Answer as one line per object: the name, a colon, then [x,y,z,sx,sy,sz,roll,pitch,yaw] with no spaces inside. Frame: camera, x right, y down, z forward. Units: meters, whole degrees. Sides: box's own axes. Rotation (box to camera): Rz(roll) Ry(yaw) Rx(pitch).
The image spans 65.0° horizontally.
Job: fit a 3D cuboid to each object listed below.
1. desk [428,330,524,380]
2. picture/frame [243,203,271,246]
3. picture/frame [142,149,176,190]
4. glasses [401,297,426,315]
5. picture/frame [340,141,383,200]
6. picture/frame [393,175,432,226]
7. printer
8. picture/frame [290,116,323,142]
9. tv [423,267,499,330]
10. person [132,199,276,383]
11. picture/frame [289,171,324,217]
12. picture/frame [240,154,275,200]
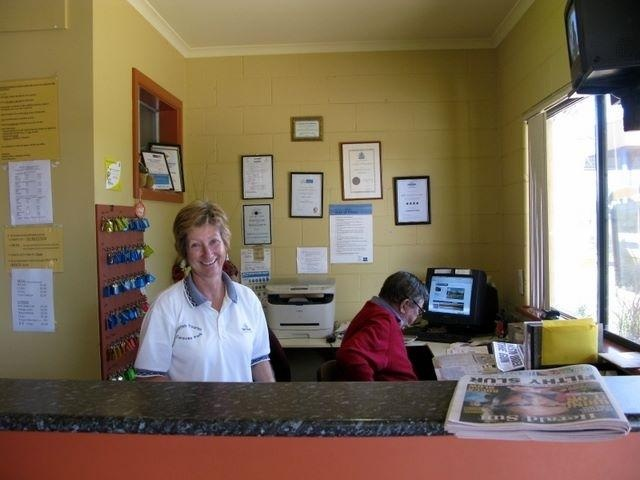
desk: [0.907,0.645,2.919,0.489,0.219,0.627,3,13,20]
picture/frame: [-0.491,-0.135,4.031,0.336,0.450,0.019,0,2,3]
picture/frame: [-1.183,-0.516,3.674,0.022,0.284,0.323,-15,5,20]
glasses: [0.495,0.351,2.702,0.043,0.142,0.135,-18,-7,-8]
picture/frame: [0.340,-0.558,3.970,0.450,0.623,0.027,-1,-2,1]
picture/frame: [0.736,-0.321,3.957,0.382,0.505,0.048,-1,-1,-1]
printer: [-0.130,0.525,3.794,0.445,0.330,0.409,-1,-5,1]
picture/frame: [-0.095,-0.891,3.997,0.205,0.155,0.016,0,2,1]
tv: [1.070,0.405,3.760,0.445,0.466,0.471,-2,-5,32]
person: [-0.535,0.276,2.265,0.604,0.864,0.308,-6,12,-22]
picture/frame: [-0.093,-0.367,3.996,0.356,0.479,0.024,0,0,0]
picture/frame: [-0.486,-0.508,4.018,0.354,0.441,0.036,0,-1,0]
